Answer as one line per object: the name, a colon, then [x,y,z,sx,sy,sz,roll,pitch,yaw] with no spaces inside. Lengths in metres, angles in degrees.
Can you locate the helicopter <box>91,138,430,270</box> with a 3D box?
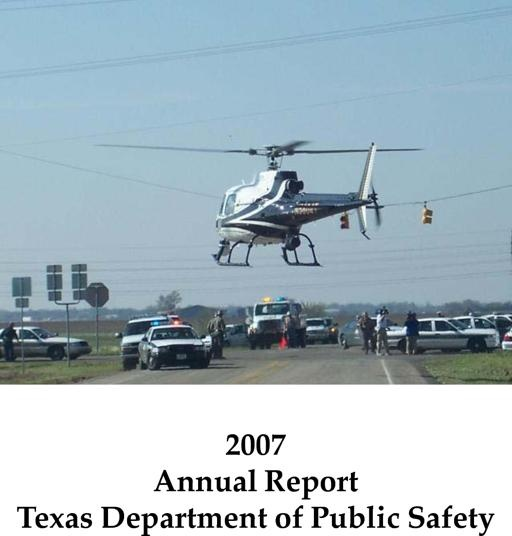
helicopter: [0.980,-2.457,43.003,13.450,4.932,13.384,-1,5,-30]

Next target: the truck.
truck: [0.840,2.519,47.791,2.089,2.314,3.754,-1,-3,9]

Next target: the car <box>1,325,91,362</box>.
car: [-8.525,3.113,42.528,4.228,1.531,1.633,0,-2,4]

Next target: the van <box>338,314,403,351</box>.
van: [4.696,2.558,46.780,2.398,1.808,3.633,-8,-10,34]

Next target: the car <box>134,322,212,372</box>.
car: [-2.810,2.565,33.970,1.336,0.875,2.589,0,-6,-12]
